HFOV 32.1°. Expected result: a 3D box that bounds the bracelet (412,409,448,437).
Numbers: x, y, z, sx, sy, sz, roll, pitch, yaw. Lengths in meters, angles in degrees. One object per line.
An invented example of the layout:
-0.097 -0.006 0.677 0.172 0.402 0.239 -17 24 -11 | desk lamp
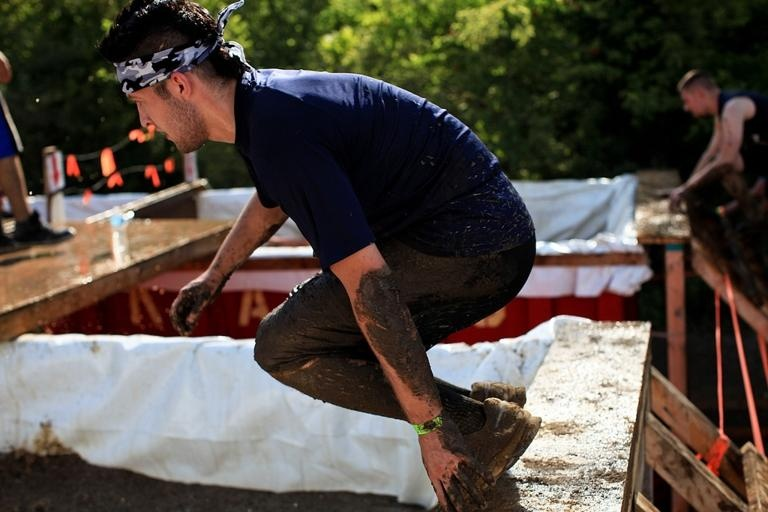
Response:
0.332 1.197 9.487 0.179 0.089 0.188 -29 1 -10 | bracelet
